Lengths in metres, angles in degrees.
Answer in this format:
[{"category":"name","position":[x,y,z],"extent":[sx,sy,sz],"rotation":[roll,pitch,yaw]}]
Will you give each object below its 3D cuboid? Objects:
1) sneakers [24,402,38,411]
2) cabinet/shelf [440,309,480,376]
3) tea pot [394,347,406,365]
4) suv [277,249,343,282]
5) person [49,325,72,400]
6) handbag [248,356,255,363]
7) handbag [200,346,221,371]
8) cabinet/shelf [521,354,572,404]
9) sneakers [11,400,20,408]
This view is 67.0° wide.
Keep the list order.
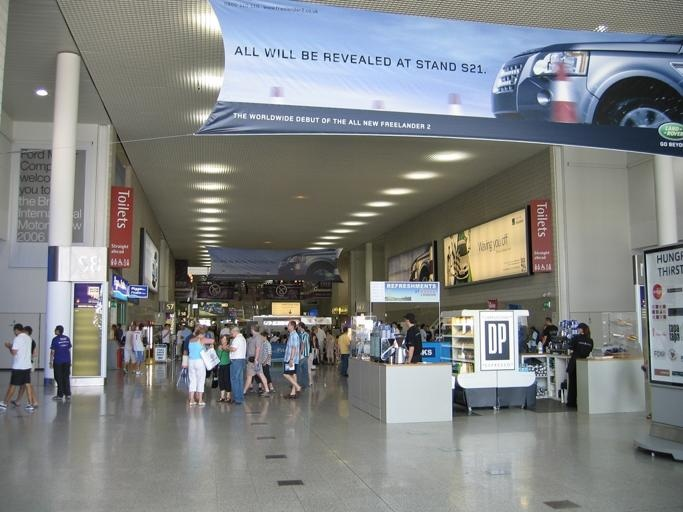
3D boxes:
[{"category":"sneakers","position":[-5.563,2.727,9.247],"extent":[0.125,0.147,0.331],"rotation":[6,-12,-38]},{"category":"cabinet/shelf","position":[2.476,1.851,10.756],"extent":[0.450,1.319,1.388],"rotation":[1,-9,-1]},{"category":"tea pot","position":[0.996,1.711,8.778],"extent":[0.241,0.256,0.163],"rotation":[7,-13,-16]},{"category":"suv","position":[-1.649,0.534,26.005],"extent":[2.564,1.270,1.609],"rotation":[1,-3,-2]},{"category":"person","position":[-5.660,2.154,10.420],"extent":[0.399,1.461,0.631],"rotation":[5,-8,-35]},{"category":"handbag","position":[-2.053,2.360,11.714],"extent":[0.126,0.163,0.219],"rotation":[6,-7,-21]},{"category":"handbag","position":[-2.595,2.019,10.077],"extent":[0.110,0.384,0.372],"rotation":[-32,-25,30]},{"category":"cabinet/shelf","position":[4.431,2.575,11.170],"extent":[0.968,1.236,1.219],"rotation":[2,-4,-11]},{"category":"sneakers","position":[-6.162,2.811,9.751],"extent":[0.130,0.145,0.353],"rotation":[3,0,-29]}]
